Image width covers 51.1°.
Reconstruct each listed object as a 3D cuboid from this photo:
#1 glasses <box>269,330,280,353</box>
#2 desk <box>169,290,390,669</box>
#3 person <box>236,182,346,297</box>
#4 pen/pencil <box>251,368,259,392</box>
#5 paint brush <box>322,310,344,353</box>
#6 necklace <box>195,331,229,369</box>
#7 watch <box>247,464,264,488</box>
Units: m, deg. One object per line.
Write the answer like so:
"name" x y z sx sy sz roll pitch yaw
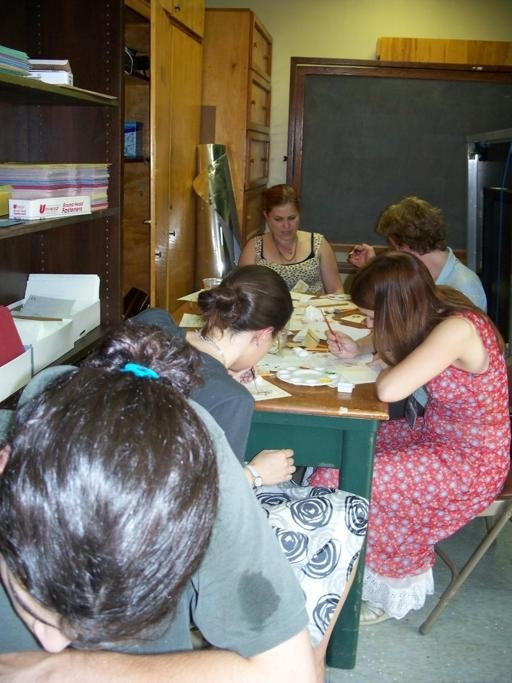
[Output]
"glasses" 0.072 0.003 1.908 0.051 0.056 0.052 1 21 2
"desk" 0.088 0.425 1.859 0.640 0.779 0.844 3 17 10
"person" 0.208 -0.547 3.350 0.568 0.780 0.447 -9 34 -1
"pen/pencil" -0.004 0.120 1.652 0.011 0.075 0.005 2 -19 -2
"paint brush" 0.280 -0.047 2.043 0.048 0.173 0.039 7 -32 -37
"necklace" -0.098 0.022 1.264 0.068 0.018 0.054 37 -3 14
"watch" -0.005 0.322 1.318 0.034 0.051 0.054 -19 13 -16
